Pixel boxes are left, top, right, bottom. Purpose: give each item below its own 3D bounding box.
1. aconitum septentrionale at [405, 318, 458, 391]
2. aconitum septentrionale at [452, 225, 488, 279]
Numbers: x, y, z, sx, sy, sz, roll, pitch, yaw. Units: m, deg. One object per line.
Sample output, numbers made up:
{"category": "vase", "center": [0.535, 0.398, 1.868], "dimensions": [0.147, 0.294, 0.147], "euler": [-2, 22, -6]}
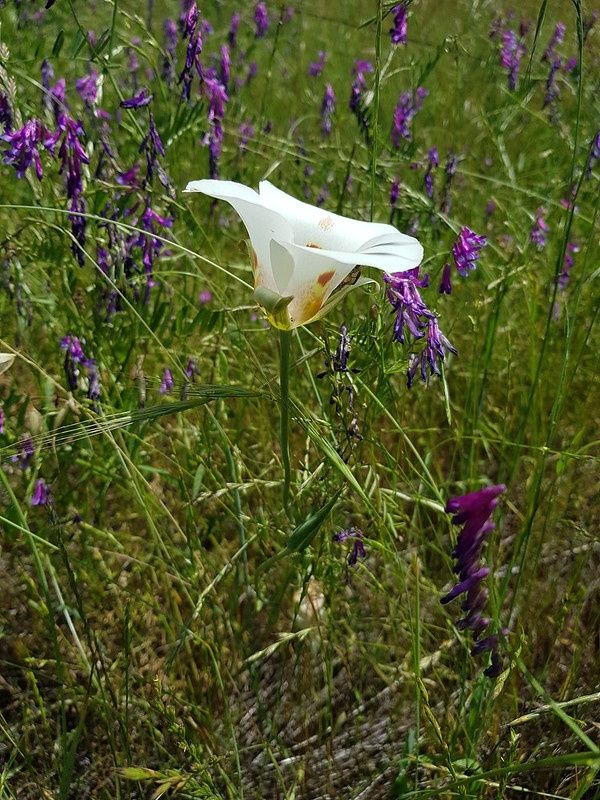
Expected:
{"category": "aconitum septentrionale", "center": [0.250, -0.086, 1.742], "dimensions": [0.073, 0.178, 0.060], "euler": [5, 18, 5]}
{"category": "aconitum septentrionale", "center": [0.336, -0.261, 1.838], "dimensions": [0.060, 0.137, 0.052], "euler": [-25, 26, -30]}
